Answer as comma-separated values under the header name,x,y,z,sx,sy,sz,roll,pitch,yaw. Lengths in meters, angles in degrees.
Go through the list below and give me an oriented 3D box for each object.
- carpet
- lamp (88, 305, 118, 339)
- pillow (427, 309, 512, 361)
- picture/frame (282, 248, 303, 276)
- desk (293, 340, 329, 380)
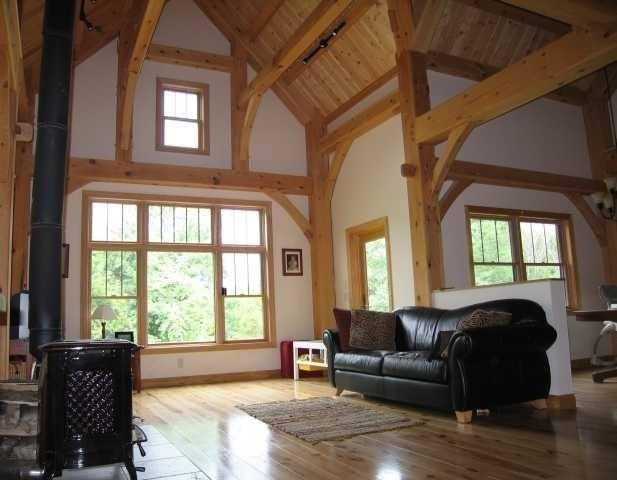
name,x,y,z,sx,sy,sz,roll,pitch,yaw
carpet,0.192,1.748,4.847,1.309,0.067,1.719,1,-7,-29
lamp,-2.976,1.163,7.062,0.314,0.503,0.727,1,-7,-24
pillow,1.547,0.886,4.661,0.752,0.435,0.814,-6,-7,25
picture/frame,-0.300,0.389,8.595,0.457,0.565,0.044,4,-9,-32
desk,0.020,1.900,7.764,0.386,0.445,0.664,15,4,-9
